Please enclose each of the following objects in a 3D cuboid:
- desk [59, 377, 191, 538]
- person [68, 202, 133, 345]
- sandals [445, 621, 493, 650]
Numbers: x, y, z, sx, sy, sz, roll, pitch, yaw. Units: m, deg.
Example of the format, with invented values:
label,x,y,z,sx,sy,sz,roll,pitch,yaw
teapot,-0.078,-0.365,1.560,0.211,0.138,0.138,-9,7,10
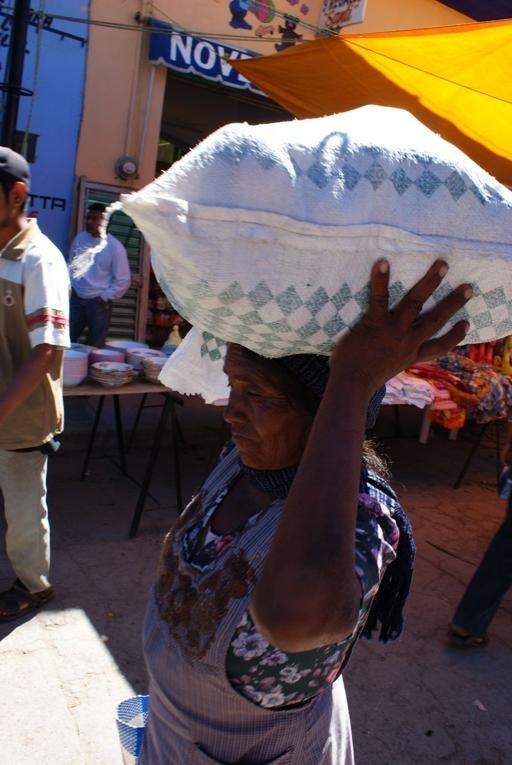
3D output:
label,x,y,z,sx,sy,sz,roll,pitch,yaw
desk,-1.000,0.532,4.920,0.978,0.991,1.678,2,7,-27
person,-1.863,-1.244,7.146,0.828,1.670,0.596,26,22,39
sandals,1.176,1.475,3.443,0.166,0.048,0.151,3,28,8
